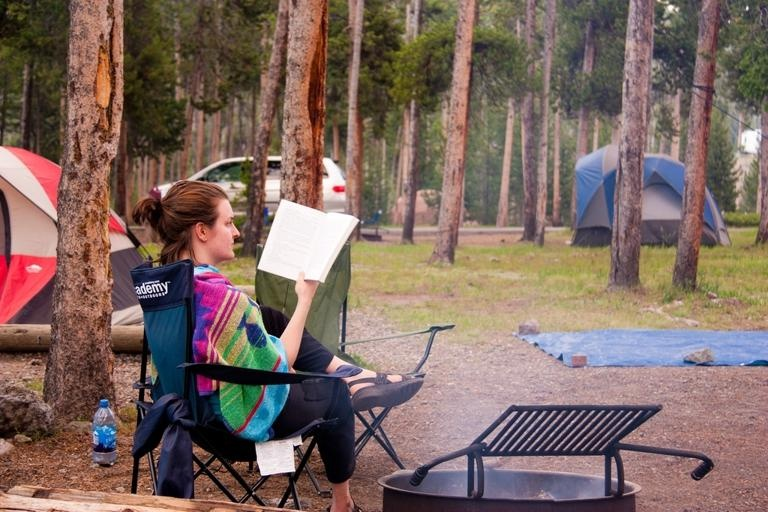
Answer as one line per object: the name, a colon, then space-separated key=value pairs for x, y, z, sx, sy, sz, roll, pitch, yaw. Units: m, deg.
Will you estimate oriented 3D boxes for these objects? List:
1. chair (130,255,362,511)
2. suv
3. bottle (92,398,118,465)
chair: x=-2.083 y=1.513 z=18.241 sx=2.559 sy=3.518 sz=2.560 roll=1 pitch=-2 yaw=-20
suv: x=-2.317 y=-1.400 z=26.814 sx=3.179 sy=1.405 sz=1.623 roll=3 pitch=4 yaw=0
bottle: x=-3.621 y=2.256 z=18.103 sx=0.328 sy=0.822 sz=0.321 roll=2 pitch=1 yaw=0
